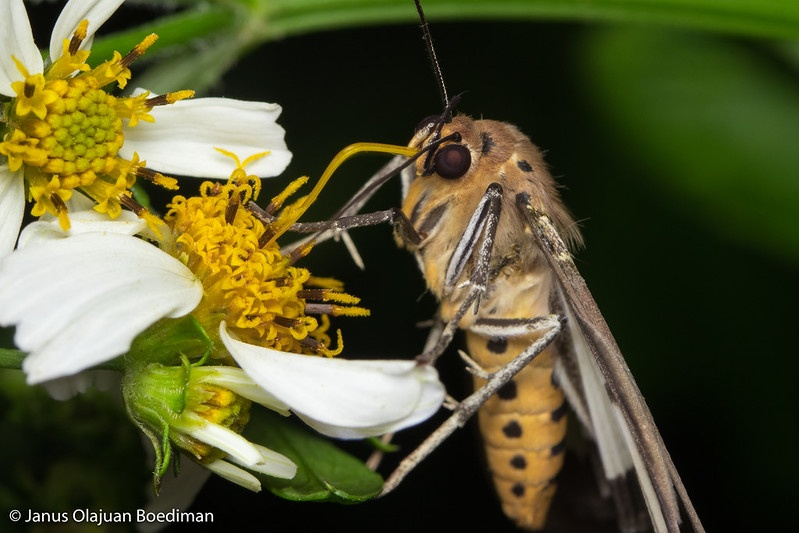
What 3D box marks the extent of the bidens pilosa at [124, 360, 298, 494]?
[{"bbox_3d":[-0.293,0.244,1.227,0.224,0.107,0.221,33,80,-3],"label":"bidens pilosa"}]
